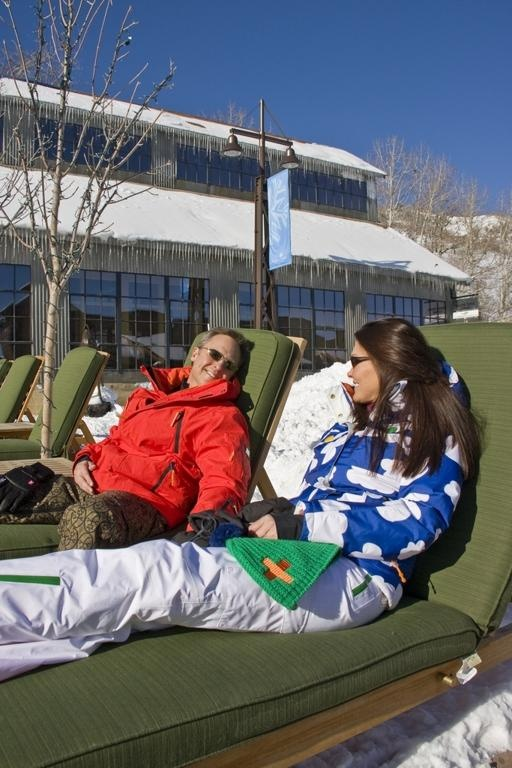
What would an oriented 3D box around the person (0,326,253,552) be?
[{"bbox_3d":[-0.426,0.220,2.665,0.671,0.529,0.951,9,11,41],"label":"person"}]
